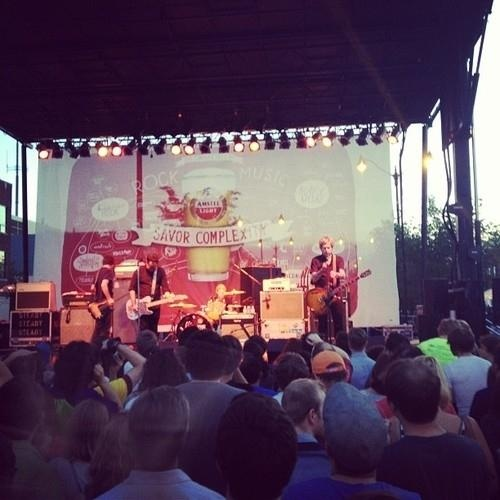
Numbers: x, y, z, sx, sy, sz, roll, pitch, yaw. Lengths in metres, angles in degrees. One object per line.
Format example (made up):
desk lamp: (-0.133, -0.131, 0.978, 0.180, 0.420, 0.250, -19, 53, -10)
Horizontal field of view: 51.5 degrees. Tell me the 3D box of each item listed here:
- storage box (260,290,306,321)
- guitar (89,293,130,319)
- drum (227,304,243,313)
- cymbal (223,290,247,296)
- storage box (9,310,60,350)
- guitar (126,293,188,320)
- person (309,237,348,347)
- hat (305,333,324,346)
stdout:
storage box: (0.501, 0.872, 8.272, 0.633, 0.587, 0.410, 0, -2, 5)
guitar: (-2.386, 0.892, 8.423, 0.426, 0.279, 0.131, -33, 7, -16)
drum: (-0.273, 1.030, 9.231, 0.192, 0.128, 0.227, -2, -1, 1)
cymbal: (-0.274, 0.760, 9.496, 0.366, 0.129, 1.077, 0, -7, -1)
storage box: (-3.397, 1.229, 8.079, 0.774, 0.815, 0.521, 0, -12, -6)
guitar: (-1.551, 0.931, 8.659, 0.607, 0.278, 0.096, -16, -13, -10)
person: (1.281, 0.788, 8.263, 0.472, 2.064, 0.557, -4, 21, 6)
hat: (0.488, 0.677, 3.954, 0.139, 0.110, 0.248, -2, -4, -10)
